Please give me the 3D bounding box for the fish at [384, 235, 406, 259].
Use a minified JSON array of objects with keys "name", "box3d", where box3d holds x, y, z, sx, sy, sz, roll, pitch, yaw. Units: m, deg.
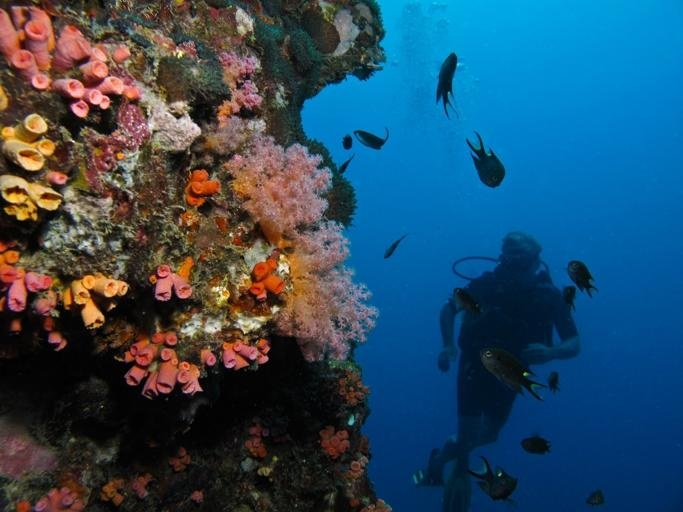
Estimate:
[{"name":"fish","box3d":[0.602,-0.095,7.305,0.110,0.411,0.105,43,-47,-11]}]
